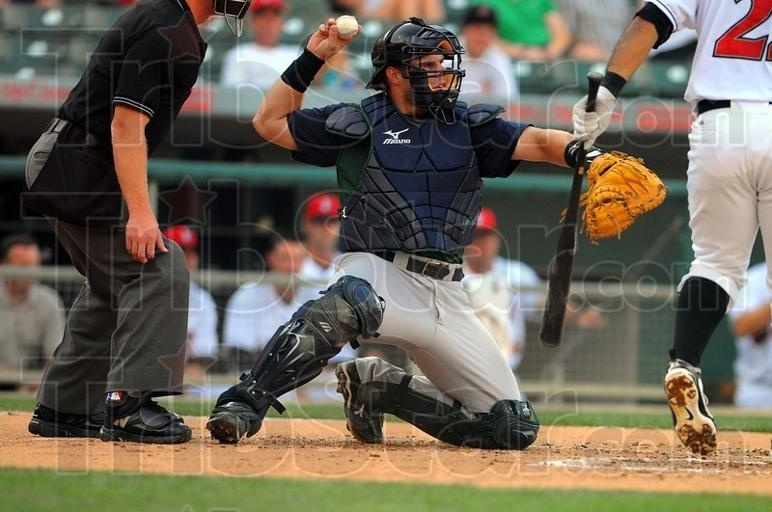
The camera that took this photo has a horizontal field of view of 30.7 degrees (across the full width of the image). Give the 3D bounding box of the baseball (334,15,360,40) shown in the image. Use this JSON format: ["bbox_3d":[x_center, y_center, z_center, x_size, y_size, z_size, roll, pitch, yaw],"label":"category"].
[{"bbox_3d":[-0.226,-1.361,8.352,0.107,0.137,0.136,-25,-3,0],"label":"baseball"}]

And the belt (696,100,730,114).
[{"bbox_3d":[1.902,-0.887,8.197,0.102,0.061,0.101,1,6,-8],"label":"belt"}]

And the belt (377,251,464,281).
[{"bbox_3d":[0.218,0.045,8.368,0.273,0.080,0.254,15,-3,14],"label":"belt"}]

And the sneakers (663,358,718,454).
[{"bbox_3d":[1.755,0.844,8.096,0.217,0.577,0.251,-21,2,23],"label":"sneakers"}]

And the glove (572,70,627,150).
[{"bbox_3d":[1.199,-0.819,8.430,0.187,0.585,0.251,28,16,26],"label":"glove"}]

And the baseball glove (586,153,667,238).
[{"bbox_3d":[1.386,-0.387,8.316,0.417,0.518,0.223,32,-3,4],"label":"baseball glove"}]

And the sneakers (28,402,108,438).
[{"bbox_3d":[-1.886,0.977,8.539,0.537,0.239,0.191,2,2,-9],"label":"sneakers"}]

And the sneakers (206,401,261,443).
[{"bbox_3d":[-0.841,0.935,8.034,0.298,0.190,0.146,-12,13,44],"label":"sneakers"}]

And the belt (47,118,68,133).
[{"bbox_3d":[-1.918,-0.772,8.257,0.091,0.091,0.039,30,-7,29],"label":"belt"}]
